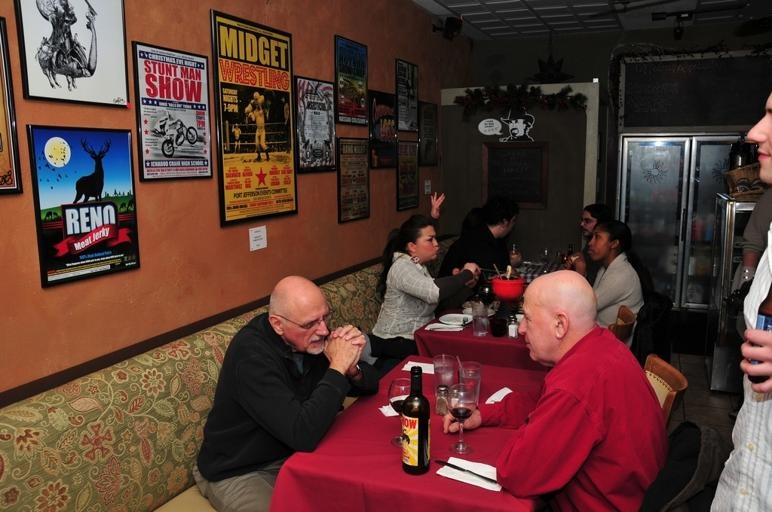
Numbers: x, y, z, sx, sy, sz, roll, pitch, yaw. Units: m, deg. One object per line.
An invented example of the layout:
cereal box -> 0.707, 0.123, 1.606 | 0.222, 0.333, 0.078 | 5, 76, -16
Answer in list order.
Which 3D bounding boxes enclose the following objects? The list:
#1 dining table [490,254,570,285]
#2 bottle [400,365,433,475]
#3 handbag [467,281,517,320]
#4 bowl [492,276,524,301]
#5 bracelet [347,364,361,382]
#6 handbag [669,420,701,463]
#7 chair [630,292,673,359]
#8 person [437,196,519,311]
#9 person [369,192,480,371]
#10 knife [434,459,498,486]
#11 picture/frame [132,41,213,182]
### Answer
dining table -> 1.614, 0.122, 5.123 | 0.672, 0.203, 0.482 | -15, 8, -31
bottle -> 0.126, 0.653, 1.932 | 0.115, 0.382, 0.188 | 1, 14, 5
handbag -> 0.818, 0.291, 3.449 | 0.301, 0.260, 0.308 | 0, -5, 0
bowl -> 0.850, 0.218, 3.312 | 0.169, 0.125, 0.167 | 1, -2, 0
bracelet -> -0.159, 0.600, 2.447 | 0.035, 0.097, 0.068 | 4, -14, -32
handbag -> 1.470, 0.921, 2.356 | 0.146, 0.036, 0.152 | -5, 31, 35
chair -> 1.897, 0.498, 3.440 | 0.215, 0.536, 0.394 | 3, 18, 32
person -> 1.095, 0.142, 5.081 | 0.750, 1.463, 0.682 | 13, 28, 27
person -> 0.298, 0.287, 3.958 | 0.832, 1.733, 0.599 | 4, 12, 10
knife -> 0.314, 0.858, 1.889 | 0.299, 0.017, 0.045 | 9, 26, 35
picture/frame -> -1.240, -0.835, 2.808 | 0.097, 0.743, 0.534 | 6, 15, 23
